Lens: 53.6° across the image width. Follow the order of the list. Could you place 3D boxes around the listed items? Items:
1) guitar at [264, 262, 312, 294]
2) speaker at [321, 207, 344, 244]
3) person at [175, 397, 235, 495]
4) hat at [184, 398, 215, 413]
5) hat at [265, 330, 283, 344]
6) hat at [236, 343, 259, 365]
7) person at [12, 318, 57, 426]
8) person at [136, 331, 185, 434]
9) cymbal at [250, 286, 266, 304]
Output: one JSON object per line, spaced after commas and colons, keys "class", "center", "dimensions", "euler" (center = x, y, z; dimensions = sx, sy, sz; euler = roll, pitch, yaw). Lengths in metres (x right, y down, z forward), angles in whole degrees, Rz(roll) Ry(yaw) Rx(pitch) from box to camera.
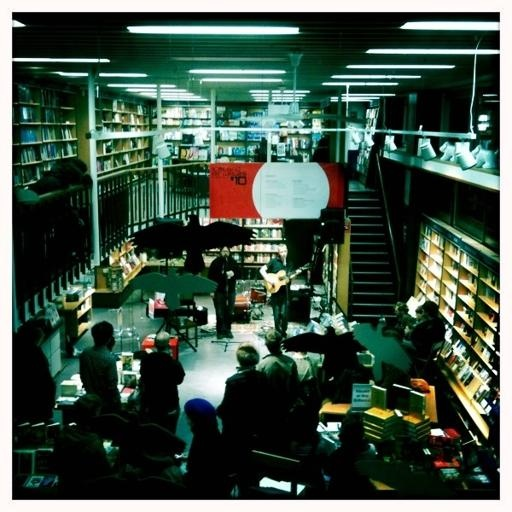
{"class": "guitar", "center": [0.537, 0.375, 9.863], "dimensions": [0.926, 0.441, 0.136], "euler": [-30, 11, -33]}
{"class": "speaker", "center": [1.278, -0.490, 8.540], "dimensions": [0.434, 0.534, 0.898], "euler": [-1, 1, 5]}
{"class": "person", "center": [-0.385, 1.496, 3.960], "dimensions": [0.398, 0.811, 0.236], "euler": [2, 11, -11]}
{"class": "hat", "center": [-0.449, 1.138, 3.894], "dimensions": [0.230, 0.097, 0.197], "euler": [2, 14, -12]}
{"class": "hat", "center": [0.155, 0.760, 4.802], "dimensions": [0.098, 0.141, 0.135], "euler": [0, 3, -1]}
{"class": "hat", "center": [-0.089, 0.828, 4.372], "dimensions": [0.134, 0.195, 0.193], "euler": [-2, 13, -1]}
{"class": "person", "center": [-2.114, 1.122, 4.642], "dimensions": [0.254, 0.886, 0.478], "euler": [10, 13, 28]}
{"class": "person", "center": [-0.999, 1.361, 5.220], "dimensions": [0.437, 1.188, 0.380], "euler": [1, 11, -15]}
{"class": "cymbal", "center": [0.013, 0.908, 11.865], "dimensions": [0.320, 0.287, 0.354], "euler": [1, 2, 1]}
